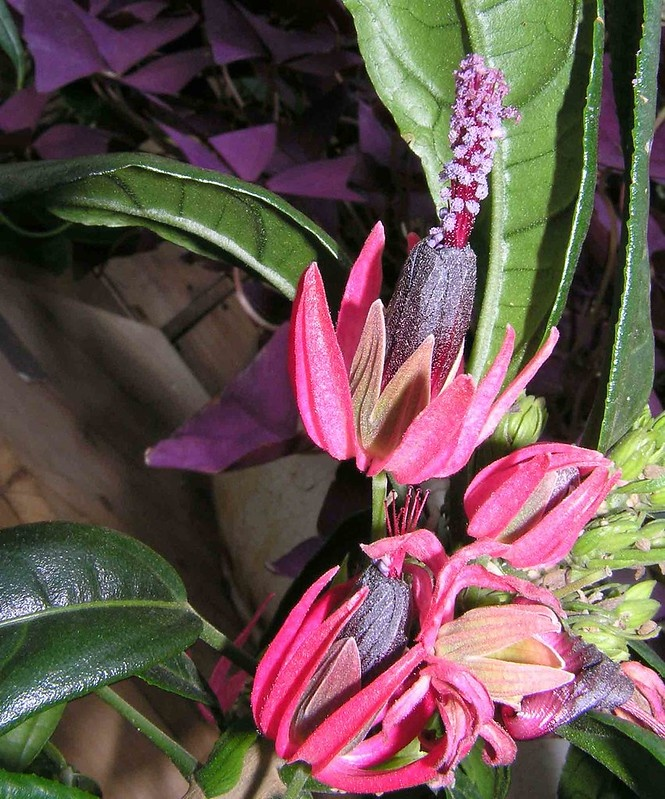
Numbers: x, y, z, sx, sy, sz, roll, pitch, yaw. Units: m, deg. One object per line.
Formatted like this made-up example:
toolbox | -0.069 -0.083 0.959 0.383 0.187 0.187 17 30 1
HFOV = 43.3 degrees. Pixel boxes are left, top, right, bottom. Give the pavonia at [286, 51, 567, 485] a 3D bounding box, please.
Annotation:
pavonia | 0.076 -0.078 0.571 0.153 0.280 0.236 3 26 37
